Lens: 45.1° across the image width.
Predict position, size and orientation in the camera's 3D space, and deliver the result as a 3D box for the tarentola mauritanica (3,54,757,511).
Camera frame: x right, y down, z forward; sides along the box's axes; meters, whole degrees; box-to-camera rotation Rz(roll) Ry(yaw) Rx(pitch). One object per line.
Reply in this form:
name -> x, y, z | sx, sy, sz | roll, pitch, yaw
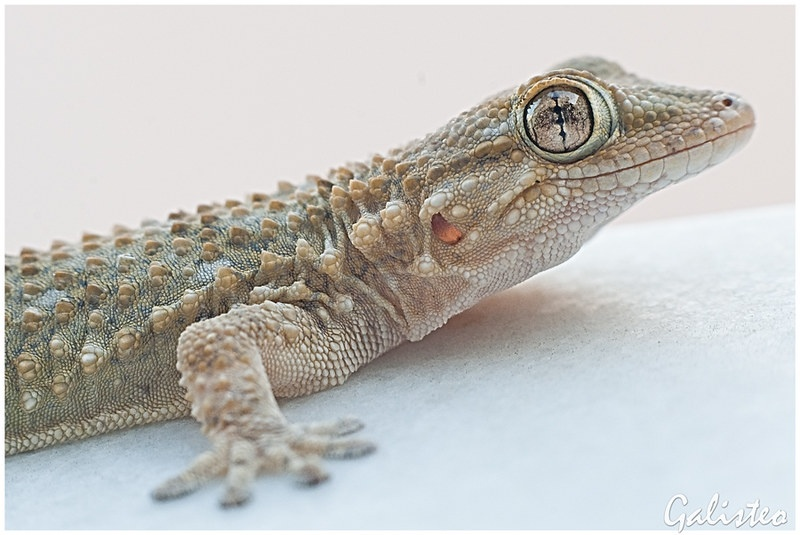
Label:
tarentola mauritanica -> -0.213, -0.004, 5.476 | 2.623, 2.466, 3.523 | 1, 3, -18
